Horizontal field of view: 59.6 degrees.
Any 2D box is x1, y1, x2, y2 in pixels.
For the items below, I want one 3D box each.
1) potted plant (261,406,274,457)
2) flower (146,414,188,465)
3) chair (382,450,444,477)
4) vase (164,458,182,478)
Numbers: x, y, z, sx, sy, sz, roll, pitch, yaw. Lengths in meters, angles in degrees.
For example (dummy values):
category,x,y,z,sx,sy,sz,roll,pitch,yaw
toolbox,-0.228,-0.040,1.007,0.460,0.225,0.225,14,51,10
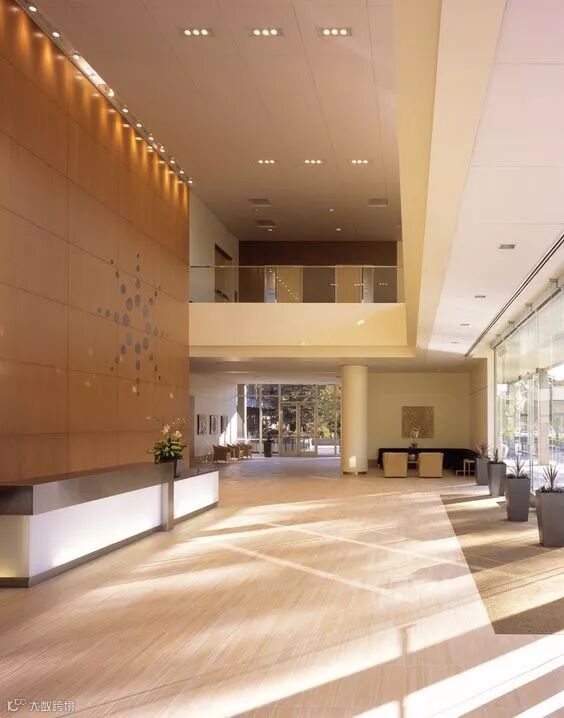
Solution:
category,x,y,z,sx,sy,sz,roll,pitch,yaw
potted plant,-0.745,3.761,25.564,0.592,2.471,1.224,-1,-6,-2
flower,-1.733,1.255,7.555,0.484,0.754,0.472,1,2,-43
chair,4.306,3.528,16.427,1.818,0.796,1.349,-3,-7,13
vase,-1.661,1.711,7.569,0.268,0.412,0.296,-1,1,-17
